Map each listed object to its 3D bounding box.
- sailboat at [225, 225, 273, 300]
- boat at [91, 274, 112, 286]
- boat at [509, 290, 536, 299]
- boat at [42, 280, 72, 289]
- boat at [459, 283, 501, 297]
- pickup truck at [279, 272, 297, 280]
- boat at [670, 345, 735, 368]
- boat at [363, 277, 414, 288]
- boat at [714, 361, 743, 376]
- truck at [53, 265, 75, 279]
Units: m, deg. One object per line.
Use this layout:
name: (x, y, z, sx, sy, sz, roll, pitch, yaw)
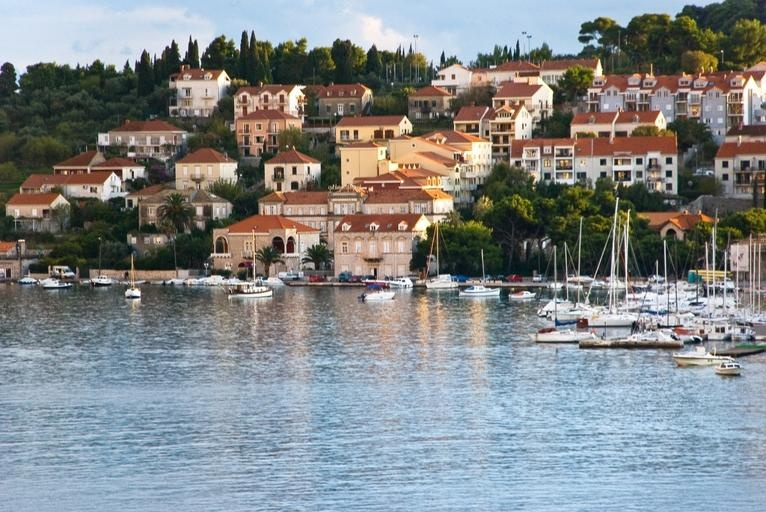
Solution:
sailboat: (-15.076, 0.781, 230.480, 3.430, 8.107, 6.446, -3, -1, 16)
boat: (-32.560, 2.765, 234.322, 1.694, 0.888, 1.227, -2, 6, -6)
boat: (14.915, 4.220, 216.866, 3.336, 1.122, 1.060, -1, 5, -22)
boat: (-37.547, 3.295, 232.644, 1.954, 0.789, 1.536, 2, -3, -16)
boat: (10.533, 3.956, 220.105, 4.481, 1.687, 1.730, -1, 4, 2)
pickup truck: (-11.028, 2.290, 233.912, 1.565, 0.807, 0.984, -3, 2, 0)
boat: (28.634, 9.127, 183.544, 4.904, 1.413, 2.658, 0, -1, 15)
boat: (0.803, 3.021, 228.431, 5.310, 1.078, 4.399, 0, -1, 2)
boat: (30.906, 9.991, 181.274, 2.249, 1.135, 1.416, 0, 0, 10)
truck: (-37.246, 1.900, 236.585, 2.075, 1.281, 1.480, 0, 4, 22)
